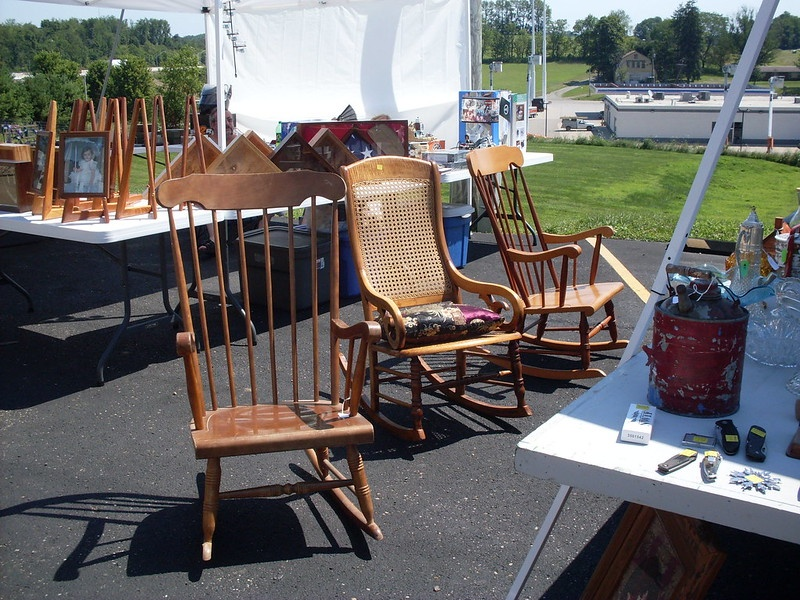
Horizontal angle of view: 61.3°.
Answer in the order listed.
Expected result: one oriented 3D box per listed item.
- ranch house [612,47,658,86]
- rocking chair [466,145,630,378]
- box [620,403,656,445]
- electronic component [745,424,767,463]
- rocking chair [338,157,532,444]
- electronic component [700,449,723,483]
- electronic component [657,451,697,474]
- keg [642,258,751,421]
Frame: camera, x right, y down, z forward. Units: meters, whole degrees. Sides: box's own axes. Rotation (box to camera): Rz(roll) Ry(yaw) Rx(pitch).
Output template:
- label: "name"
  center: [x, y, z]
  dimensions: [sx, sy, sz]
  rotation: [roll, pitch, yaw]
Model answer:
- label: "ranch house"
  center: [28.630, -28.448, 81.755]
  dimensions: [2.783, 3.826, 11.809]
  rotation: [1, 17, 4]
- label: "rocking chair"
  center: [0.892, -0.220, 3.868]
  dimensions: [0.763, 1.303, 0.878]
  rotation: [-13, 15, -27]
- label: "box"
  center: [0.541, 0.276, 1.521]
  dimensions: [0.068, 0.031, 0.136]
  rotation: [2, 17, 29]
- label: "electronic component"
  center: [0.748, 0.304, 1.428]
  dimensions: [0.042, 0.038, 0.120]
  rotation: [-3, 28, 21]
- label: "rocking chair"
  center: [0.126, -0.017, 3.275]
  dimensions: [0.648, 1.321, 0.802]
  rotation: [-8, 10, -28]
- label: "electronic component"
  center: [0.641, 0.334, 1.373]
  dimensions: [0.032, 0.018, 0.069]
  rotation: [-2, 24, 19]
- label: "electronic component"
  center: [0.575, 0.335, 1.398]
  dimensions: [0.100, 0.022, 0.037]
  rotation: [-17, 21, -42]
- label: "keg"
  center: [0.706, 0.084, 1.602]
  dimensions: [0.197, 0.340, 0.202]
  rotation: [7, 18, 36]
